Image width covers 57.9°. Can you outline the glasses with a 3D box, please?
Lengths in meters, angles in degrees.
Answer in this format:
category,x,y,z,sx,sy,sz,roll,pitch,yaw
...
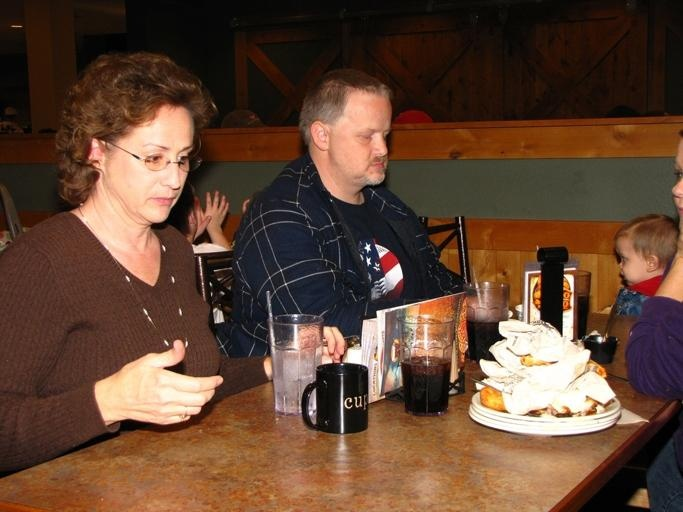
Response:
category,x,y,z,sx,sy,sz,roll,pitch,yaw
glasses,-0.508,-0.269,1.674,0.120,0.035,0.123,32,14,26

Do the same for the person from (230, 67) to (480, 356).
category,x,y,z,sx,sy,sz,roll,pitch,yaw
person,0.023,-0.086,2.649,0.884,1.248,0.981,6,10,37

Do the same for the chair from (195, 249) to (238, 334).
category,x,y,z,sx,sy,sz,roll,pitch,yaw
chair,-0.497,0.133,2.594,0.184,0.274,0.183,-1,2,-41

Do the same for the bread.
category,x,y,z,sx,sy,sz,roll,pitch,yaw
bread,0.460,0.251,1.365,0.215,0.086,0.220,1,32,5
